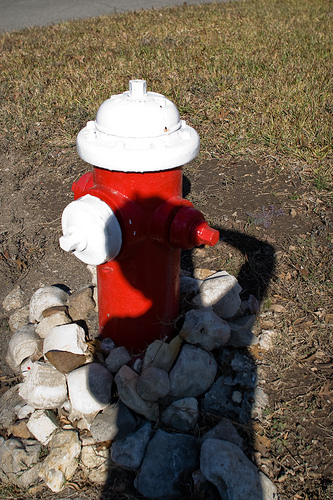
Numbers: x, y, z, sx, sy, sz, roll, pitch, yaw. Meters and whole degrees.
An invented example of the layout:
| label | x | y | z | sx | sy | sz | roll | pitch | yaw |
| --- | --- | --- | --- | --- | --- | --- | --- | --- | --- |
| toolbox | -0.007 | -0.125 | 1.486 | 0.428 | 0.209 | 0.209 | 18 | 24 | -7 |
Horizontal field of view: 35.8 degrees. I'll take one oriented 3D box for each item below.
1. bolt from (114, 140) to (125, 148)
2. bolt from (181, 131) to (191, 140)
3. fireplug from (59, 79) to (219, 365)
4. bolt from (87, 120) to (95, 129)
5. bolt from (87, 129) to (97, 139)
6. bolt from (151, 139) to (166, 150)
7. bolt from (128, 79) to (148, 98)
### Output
| label | x | y | z | sx | sy | sz | roll | pitch | yaw |
| --- | --- | --- | --- | --- | --- | --- | --- | --- | --- |
| bolt | -0.168 | -0.379 | 1.843 | 0.038 | 0.019 | 0.038 | -5 | 35 | -1 |
| bolt | 0.073 | -0.433 | 1.934 | 0.033 | 0.023 | 0.027 | 1 | 3 | -4 |
| fireplug | -0.110 | -0.036 | 2.133 | 0.568 | 1.240 | 0.500 | -9 | 37 | -4 |
| bolt | -0.290 | -0.484 | 1.988 | 0.032 | 0.021 | 0.031 | 11 | 19 | 29 |
| bolt | -0.277 | -0.431 | 1.923 | 0.034 | 0.025 | 0.030 | -12 | 36 | -10 |
| bolt | -0.030 | -0.382 | 1.853 | 0.054 | 0.022 | 0.067 | -10 | 34 | -7 |
| bolt | -0.100 | -0.599 | 1.926 | 0.069 | 0.040 | 0.068 | 26 | 42 | 33 |
